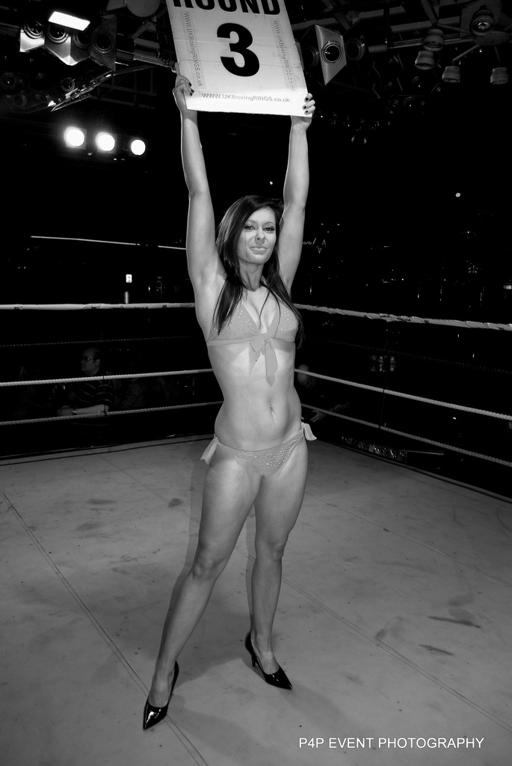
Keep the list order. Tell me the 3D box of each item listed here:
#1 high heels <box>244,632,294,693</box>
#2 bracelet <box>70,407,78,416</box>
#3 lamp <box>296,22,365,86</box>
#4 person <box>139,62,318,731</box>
[{"bbox_3d":[0.046,0.954,1.698,0.059,0.104,0.209,8,9,-29],"label":"high heels"},{"bbox_3d":[-1.613,0.269,4.619,0.041,0.113,0.050,-3,-1,-5],"label":"bracelet"},{"bbox_3d":[0.522,-2.316,3.557,0.489,0.409,0.307,0,4,-25],"label":"lamp"},{"bbox_3d":[-0.047,0.140,1.409,0.536,1.701,0.323,-2,4,-39],"label":"person"}]
